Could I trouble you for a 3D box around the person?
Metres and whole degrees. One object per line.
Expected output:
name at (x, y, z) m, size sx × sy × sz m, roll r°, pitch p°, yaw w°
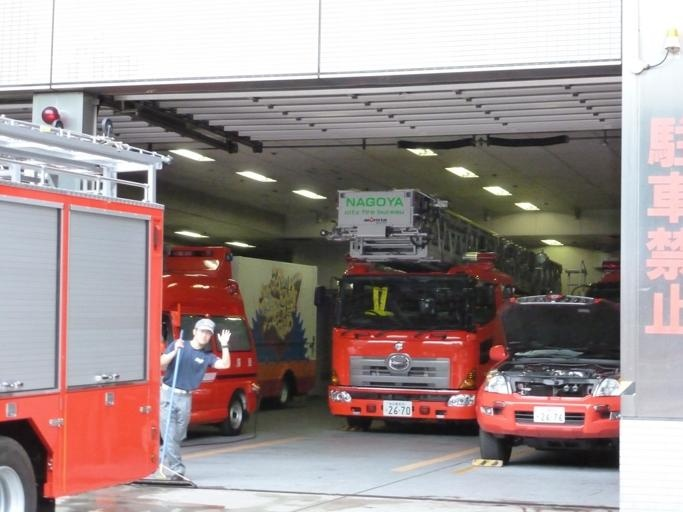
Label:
person at (-1.899, 1.770, 11.791) m, size 0.976 × 1.943 × 0.913 m, roll -1°, pitch -2°, yaw 42°
